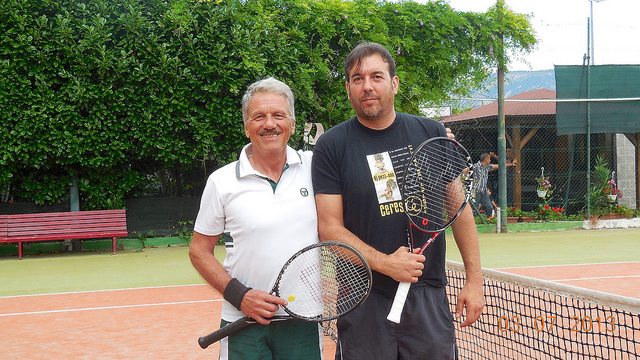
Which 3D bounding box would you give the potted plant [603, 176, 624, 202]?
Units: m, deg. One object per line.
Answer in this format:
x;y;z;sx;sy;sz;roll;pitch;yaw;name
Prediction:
10.395;0.257;18.308;0.673;0.983;0.624;-5;7;-25;potted plant

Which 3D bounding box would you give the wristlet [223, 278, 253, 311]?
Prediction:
-1.084;1.420;6.603;0.285;0.345;0.355;-20;13;-21;wristlet

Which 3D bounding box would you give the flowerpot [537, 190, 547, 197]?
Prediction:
7.845;0.487;18.183;0.307;0.261;0.395;3;10;21;flowerpot

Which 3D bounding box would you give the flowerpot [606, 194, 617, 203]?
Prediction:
10.266;0.624;18.152;0.281;0.173;0.278;3;5;29;flowerpot

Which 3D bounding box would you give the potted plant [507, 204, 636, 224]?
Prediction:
8.825;1.196;18.147;3.999;0.523;0.275;-3;2;12;potted plant
